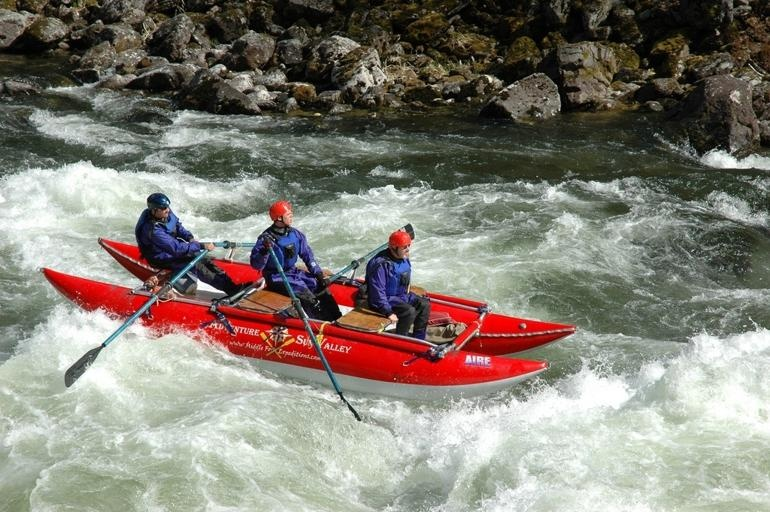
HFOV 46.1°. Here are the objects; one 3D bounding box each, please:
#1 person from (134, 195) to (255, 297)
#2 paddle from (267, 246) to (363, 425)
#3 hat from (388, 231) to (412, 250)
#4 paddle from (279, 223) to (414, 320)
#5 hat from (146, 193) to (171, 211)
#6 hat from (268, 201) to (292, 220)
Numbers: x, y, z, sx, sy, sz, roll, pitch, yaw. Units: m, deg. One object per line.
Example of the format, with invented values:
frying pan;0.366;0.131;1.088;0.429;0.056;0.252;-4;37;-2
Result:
person;-3.676;-0.182;17.591;2.489;1.206;1.067;25;26;3
paddle;-1.316;1.566;16.530;0.420;0.440;3.532;-4;62;-61
hat;0.287;-0.328;16.356;0.379;0.262;0.381;2;33;4
paddle;-0.734;0.214;16.947;2.027;0.461;1.141;-21;-6;21
hat;-4.306;-1.070;17.238;0.366;0.284;0.361;-4;34;-6
hat;-1.948;-0.902;16.991;0.358;0.355;0.645;-3;32;-4
